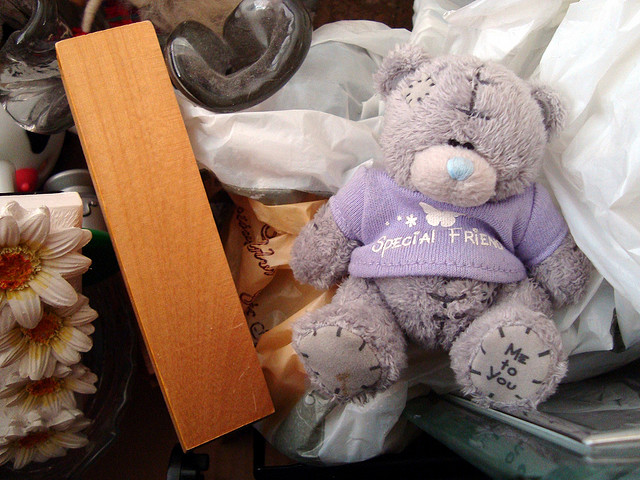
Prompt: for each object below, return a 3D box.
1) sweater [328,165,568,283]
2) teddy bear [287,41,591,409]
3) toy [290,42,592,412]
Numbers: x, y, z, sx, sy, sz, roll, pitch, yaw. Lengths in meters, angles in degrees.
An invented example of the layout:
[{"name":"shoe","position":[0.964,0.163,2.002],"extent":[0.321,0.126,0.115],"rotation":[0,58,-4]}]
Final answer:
[{"name":"sweater","position":[0.185,-0.010,0.782],"extent":[0.331,0.199,0.174],"rotation":[7,81,11]},{"name":"teddy bear","position":[0.163,-0.007,0.718],"extent":[0.395,0.418,0.285],"rotation":[-1,30,-1]},{"name":"toy","position":[0.170,-0.006,0.727],"extent":[0.423,0.454,0.296],"rotation":[5,36,7]}]
